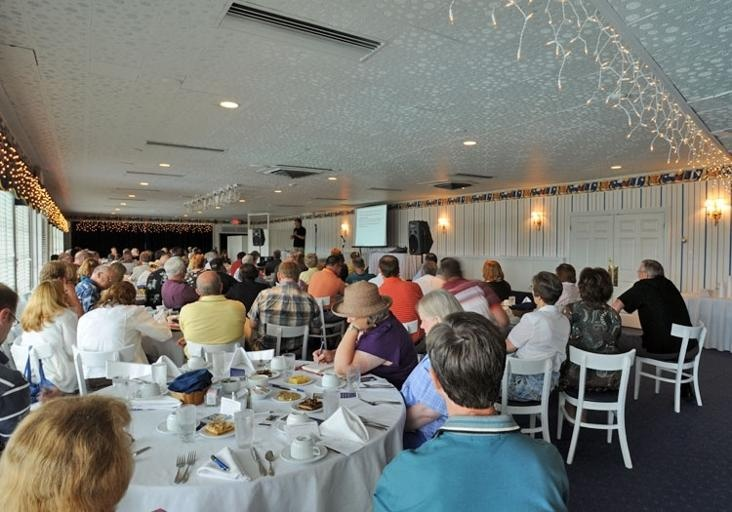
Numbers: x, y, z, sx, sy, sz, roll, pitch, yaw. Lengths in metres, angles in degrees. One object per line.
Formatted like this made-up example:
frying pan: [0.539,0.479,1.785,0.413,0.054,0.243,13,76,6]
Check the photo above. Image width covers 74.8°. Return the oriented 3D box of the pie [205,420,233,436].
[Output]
pie: [-0.834,0.974,2.736,0.092,0.025,0.090,2,3,30]

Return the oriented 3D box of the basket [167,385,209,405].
basket: [-1.135,0.900,3.068,0.153,0.060,0.141,-2,-6,-3]

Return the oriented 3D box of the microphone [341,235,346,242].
microphone: [-0.727,-0.577,16.304,0.029,0.246,0.304,-7,15,-30]

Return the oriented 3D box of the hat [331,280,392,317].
hat: [-0.018,0.292,3.556,0.467,0.159,0.437,2,17,20]

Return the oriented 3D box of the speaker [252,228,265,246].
speaker: [-3.816,-0.671,17.037,0.417,0.614,0.298,2,14,0]

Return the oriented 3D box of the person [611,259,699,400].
person: [3.323,0.673,5.530,0.912,1.207,0.954,1,18,33]

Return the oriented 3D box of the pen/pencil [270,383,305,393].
pen/pencil: [-0.528,0.907,3.288,0.190,0.024,0.024,6,-10,17]

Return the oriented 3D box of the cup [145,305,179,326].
cup: [-2.292,0.684,5.475,0.318,0.120,0.357,3,3,-26]
